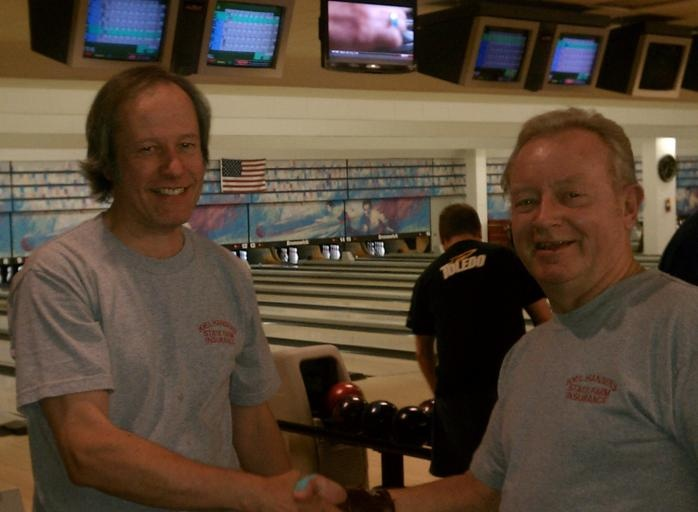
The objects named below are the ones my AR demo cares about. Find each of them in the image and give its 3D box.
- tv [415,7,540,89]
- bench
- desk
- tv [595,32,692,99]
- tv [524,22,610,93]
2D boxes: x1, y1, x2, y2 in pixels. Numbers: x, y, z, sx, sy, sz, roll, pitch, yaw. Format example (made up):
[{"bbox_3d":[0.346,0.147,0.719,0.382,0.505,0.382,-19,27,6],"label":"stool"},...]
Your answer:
[{"bbox_3d":[0.980,-1.701,4.848,0.744,0.544,0.750,-1,21,-34],"label":"tv"},{"bbox_3d":[-0.160,0.833,2.903,0.373,0.719,0.447,-9,-4,36],"label":"bench"},{"bbox_3d":[0.168,0.826,2.616,0.269,0.293,0.611,20,-9,-40],"label":"desk"},{"bbox_3d":[2.657,-1.677,5.397,0.740,0.525,0.581,2,6,-19],"label":"tv"},{"bbox_3d":[1.747,-1.658,4.879,0.592,0.419,0.169,-5,41,-20],"label":"tv"}]
